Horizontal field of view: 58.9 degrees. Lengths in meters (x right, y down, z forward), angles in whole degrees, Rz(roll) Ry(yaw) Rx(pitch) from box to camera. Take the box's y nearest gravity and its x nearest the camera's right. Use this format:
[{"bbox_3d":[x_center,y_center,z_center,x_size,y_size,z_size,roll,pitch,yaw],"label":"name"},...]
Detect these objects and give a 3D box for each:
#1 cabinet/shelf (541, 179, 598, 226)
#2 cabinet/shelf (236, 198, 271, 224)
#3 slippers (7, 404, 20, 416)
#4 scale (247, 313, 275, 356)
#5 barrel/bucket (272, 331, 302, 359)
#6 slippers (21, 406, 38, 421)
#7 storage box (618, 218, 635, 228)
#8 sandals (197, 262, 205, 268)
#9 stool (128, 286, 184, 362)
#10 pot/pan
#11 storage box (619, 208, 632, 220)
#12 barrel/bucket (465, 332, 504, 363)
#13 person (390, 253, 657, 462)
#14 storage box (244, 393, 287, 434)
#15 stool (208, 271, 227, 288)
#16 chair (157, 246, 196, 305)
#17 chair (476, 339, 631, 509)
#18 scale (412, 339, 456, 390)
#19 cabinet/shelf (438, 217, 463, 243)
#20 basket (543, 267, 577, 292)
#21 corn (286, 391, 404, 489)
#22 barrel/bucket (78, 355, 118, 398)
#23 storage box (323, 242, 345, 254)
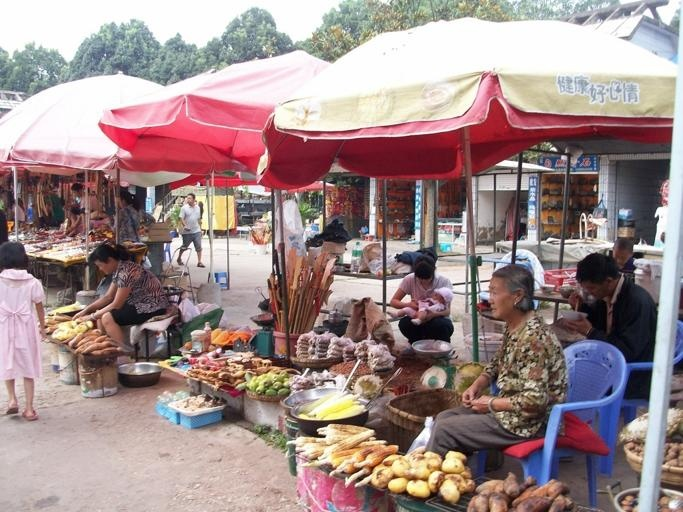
[{"bbox_3d":[6.299,-1.437,16.615,0.628,1.833,1.887,-6,10,-39],"label":"cabinet/shelf"},{"bbox_3d":[-4.696,-2.426,31.956,1.850,1.171,1.778,-3,11,-18],"label":"cabinet/shelf"},{"bbox_3d":[-3.228,1.502,5.929,0.112,0.120,0.145,-5,9,-30],"label":"slippers"},{"bbox_3d":[-0.918,0.892,6.956,0.397,0.470,0.394,-2,4,-39],"label":"scale"},{"bbox_3d":[-0.599,0.934,6.414,0.289,0.219,0.289,1,-3,0],"label":"barrel/bucket"},{"bbox_3d":[-2.996,1.519,5.825,0.080,0.085,0.214,1,0,-38],"label":"slippers"},{"bbox_3d":[7.951,-0.918,16.836,0.293,0.182,0.295,-4,5,-18],"label":"storage box"},{"bbox_3d":[-3.662,0.236,15.717,0.114,0.088,0.222,-2,-1,-25],"label":"sandals"},{"bbox_3d":[-2.202,0.839,7.279,0.550,0.823,0.585,-2,15,-39],"label":"stool"},{"bbox_3d":[-0.091,1.142,4.507,0.430,0.186,0.523,0,11,4],"label":"pot/pan"},{"bbox_3d":[7.872,-1.150,16.756,0.432,0.321,0.433,-1,-1,2],"label":"storage box"},{"bbox_3d":[1.410,0.854,5.856,0.375,0.298,0.434,0,-2,-7],"label":"barrel/bucket"},{"bbox_3d":[1.227,0.808,4.015,0.998,2.168,0.894,-1,2,-27],"label":"person"},{"bbox_3d":[-0.669,1.409,5.419,0.235,0.314,0.449,-4,8,-36],"label":"storage box"},{"bbox_3d":[-2.443,0.442,12.030,0.485,0.471,0.484,0,-1,-8],"label":"stool"},{"bbox_3d":[-3.122,0.347,11.434,0.675,1.001,0.610,12,13,42],"label":"chair"},{"bbox_3d":[1.547,1.099,4.312,0.781,1.359,0.793,-2,4,-35],"label":"chair"},{"bbox_3d":[0.859,1.023,5.593,0.264,0.303,0.302,-7,12,-39],"label":"scale"},{"bbox_3d":[3.207,-0.746,17.800,0.943,0.634,0.512,2,16,5],"label":"cabinet/shelf"},{"bbox_3d":[2.375,0.241,6.595,0.276,0.146,0.409,0,6,-9],"label":"basket"},{"bbox_3d":[0.015,1.224,3.997,0.388,0.217,0.581,10,2,25],"label":"corn"},{"bbox_3d":[-2.627,1.263,6.559,0.458,0.452,0.461,-5,1,0],"label":"barrel/bucket"},{"bbox_3d":[-0.111,-0.119,8.542,0.228,0.135,0.174,1,7,3],"label":"storage box"}]
